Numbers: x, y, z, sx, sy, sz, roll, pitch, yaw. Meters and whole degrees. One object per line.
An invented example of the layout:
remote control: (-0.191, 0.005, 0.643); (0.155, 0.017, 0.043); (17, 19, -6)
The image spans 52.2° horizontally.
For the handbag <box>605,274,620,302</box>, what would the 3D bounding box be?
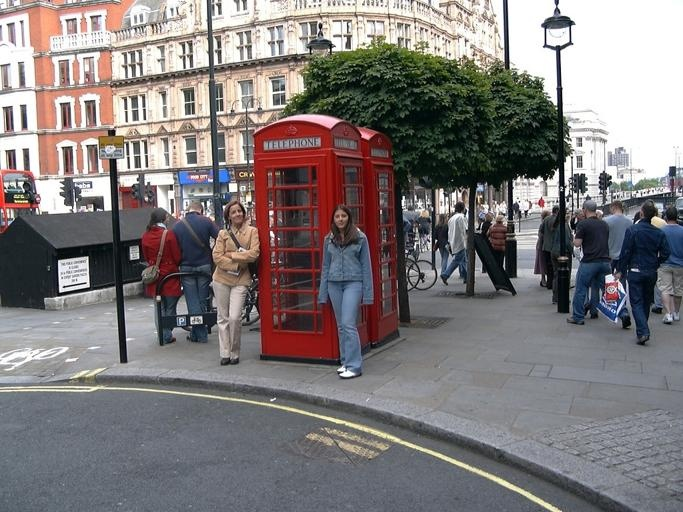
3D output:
handbag: (4.628, 0.536, 11.868); (0.160, 0.517, 0.465); (-1, 9, 3)

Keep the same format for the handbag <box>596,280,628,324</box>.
handbag: (4.812, 0.812, 12.003); (0.189, 0.723, 0.476); (1, 8, -30)

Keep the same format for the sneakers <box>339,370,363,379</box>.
sneakers: (0.119, 1.631, 9.596); (0.283, 0.137, 0.106); (5, -7, -33)

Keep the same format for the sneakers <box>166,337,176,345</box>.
sneakers: (-2.946, 1.474, 12.027); (0.058, 0.089, 0.193); (6, 11, 22)

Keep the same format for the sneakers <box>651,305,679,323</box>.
sneakers: (6.020, 1.096, 12.771); (0.199, 0.303, 0.648); (0, 7, 11)

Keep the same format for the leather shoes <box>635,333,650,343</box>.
leather shoes: (4.771, 1.326, 10.995); (0.094, 0.118, 0.263); (-19, -26, 4)

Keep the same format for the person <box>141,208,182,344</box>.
person: (-3.140, 0.395, 12.148); (0.655, 2.335, 1.528); (-4, 9, -17)

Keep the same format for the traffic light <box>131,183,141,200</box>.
traffic light: (-9.534, -2.976, 32.309); (0.261, 0.767, 1.917); (-5, 10, -19)

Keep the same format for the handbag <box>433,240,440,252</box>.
handbag: (2.918, -0.318, 21.434); (0.117, 0.412, 0.107); (-11, 42, 16)

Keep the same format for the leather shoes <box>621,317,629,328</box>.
leather shoes: (4.996, 1.171, 12.225); (0.081, 0.270, 0.106); (-1, 14, 6)

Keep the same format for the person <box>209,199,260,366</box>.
person: (-1.568, 0.410, 10.413); (0.719, 2.418, 0.596); (-2, 8, -6)

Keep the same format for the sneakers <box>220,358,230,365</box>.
sneakers: (-1.751, 1.583, 10.416); (0.069, 0.098, 0.142); (-3, -16, 13)

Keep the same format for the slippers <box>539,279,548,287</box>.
slippers: (5.140, 0.706, 17.662); (0.129, 0.180, 0.424); (-3, -8, 15)

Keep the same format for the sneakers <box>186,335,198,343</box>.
sneakers: (-2.597, 1.422, 12.033); (0.280, 0.107, 0.090); (7, 12, 42)

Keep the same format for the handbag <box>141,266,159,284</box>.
handbag: (-3.309, 0.326, 12.019); (0.307, 0.298, 0.241); (5, 11, 38)

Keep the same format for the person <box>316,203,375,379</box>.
person: (0.059, 0.482, 9.693); (0.763, 2.334, 0.668); (-1, 8, 1)
